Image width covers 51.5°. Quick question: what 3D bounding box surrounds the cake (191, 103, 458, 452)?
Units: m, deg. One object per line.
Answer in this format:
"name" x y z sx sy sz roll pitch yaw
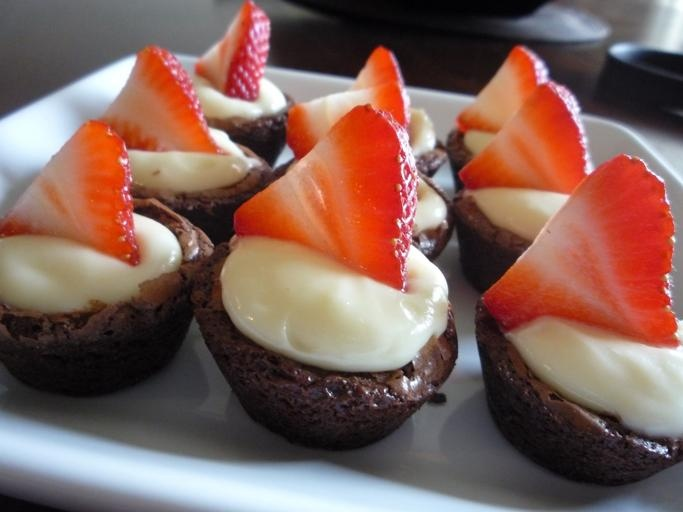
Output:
"cake" -0.022 0.051 1.724 0.568 0.577 0.610 -25 56 -28

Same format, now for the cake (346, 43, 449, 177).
"cake" 0.192 -0.477 2.623 0.398 0.169 0.481 33 33 -29

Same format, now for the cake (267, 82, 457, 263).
"cake" 0.079 -0.182 2.191 0.340 0.514 0.530 -13 53 34
